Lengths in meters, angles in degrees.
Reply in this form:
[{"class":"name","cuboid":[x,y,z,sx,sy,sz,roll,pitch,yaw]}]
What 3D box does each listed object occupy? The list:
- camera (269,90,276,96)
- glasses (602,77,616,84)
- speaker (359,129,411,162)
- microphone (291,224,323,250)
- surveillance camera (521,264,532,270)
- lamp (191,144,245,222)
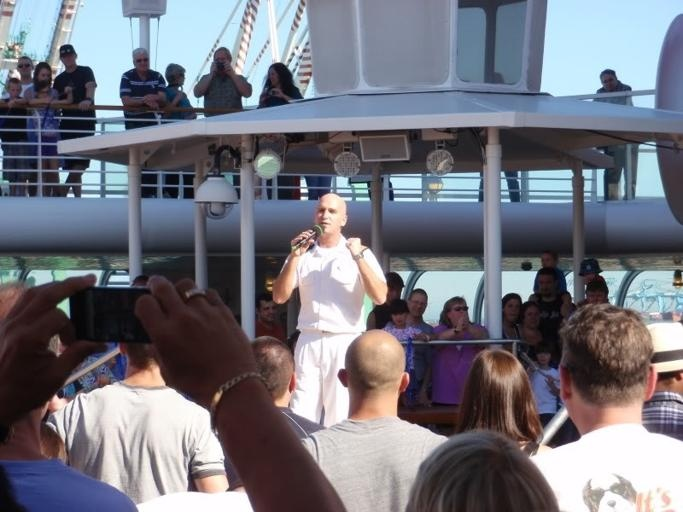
[{"class":"camera","cuboid":[-0.803,-1.878,12.680,0.091,0.092,0.052,1,-20,0]},{"class":"glasses","cuboid":[3.481,-2.300,14.346,0.071,0.043,0.092,-21,-24,25]},{"class":"speaker","cuboid":[0.433,-1.009,10.159,0.435,0.249,0.286,-2,7,16]},{"class":"microphone","cuboid":[-0.251,-0.142,8.412,0.109,0.114,0.332,-2,21,38]},{"class":"surveillance camera","cuboid":[3.344,0.216,19.817,0.126,0.095,0.131,-1,5,2]},{"class":"lamp","cuboid":[-1.145,-0.675,10.200,0.418,0.686,0.356,2,-8,-16]}]
